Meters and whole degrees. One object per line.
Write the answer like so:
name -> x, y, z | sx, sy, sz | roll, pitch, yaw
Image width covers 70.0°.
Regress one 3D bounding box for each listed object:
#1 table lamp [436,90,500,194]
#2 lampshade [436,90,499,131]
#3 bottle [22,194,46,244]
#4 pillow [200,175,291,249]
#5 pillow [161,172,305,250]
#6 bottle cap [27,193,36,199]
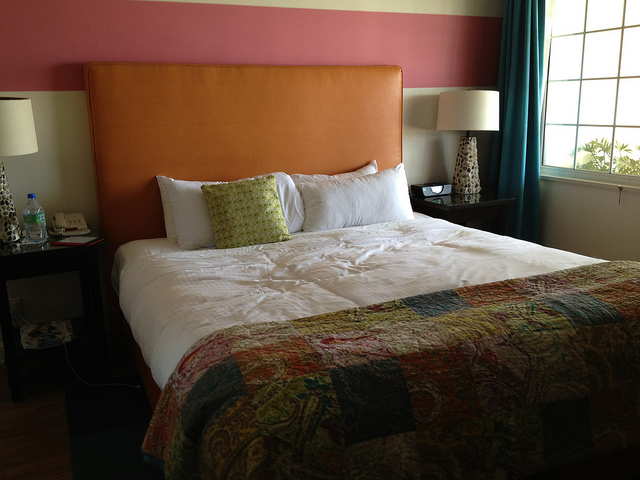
table lamp -> 1.300, -0.845, 4.054 | 0.529, 0.893, 0.539 | -4, 11, -27
lampshade -> 1.270, -1.113, 4.003 | 0.504, 0.361, 0.531 | -4, 8, -17
bottle -> -1.725, -0.132, 2.741 | 0.122, 0.283, 0.237 | -12, 15, -31
pillow -> -0.536, -0.267, 3.098 | 0.691, 0.458, 0.522 | -6, 12, -19
pillow -> -0.654, -0.194, 3.049 | 0.930, 0.531, 0.451 | -5, 16, -32
bottle cap -> -1.759, -0.271, 2.784 | 0.041, 0.027, 0.044 | 3, 7, 11
